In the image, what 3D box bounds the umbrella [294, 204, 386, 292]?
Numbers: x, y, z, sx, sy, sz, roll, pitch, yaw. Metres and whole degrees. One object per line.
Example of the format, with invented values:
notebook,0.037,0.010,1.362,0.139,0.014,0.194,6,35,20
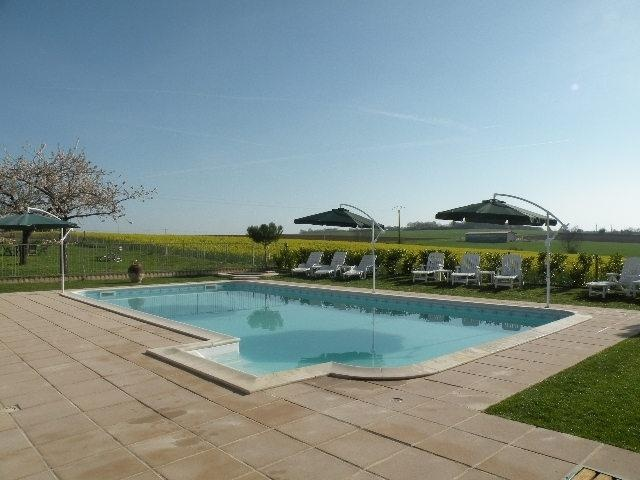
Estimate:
umbrella,0.516,0.013,15.297,3.337,3.021,3.550,3,0,13
